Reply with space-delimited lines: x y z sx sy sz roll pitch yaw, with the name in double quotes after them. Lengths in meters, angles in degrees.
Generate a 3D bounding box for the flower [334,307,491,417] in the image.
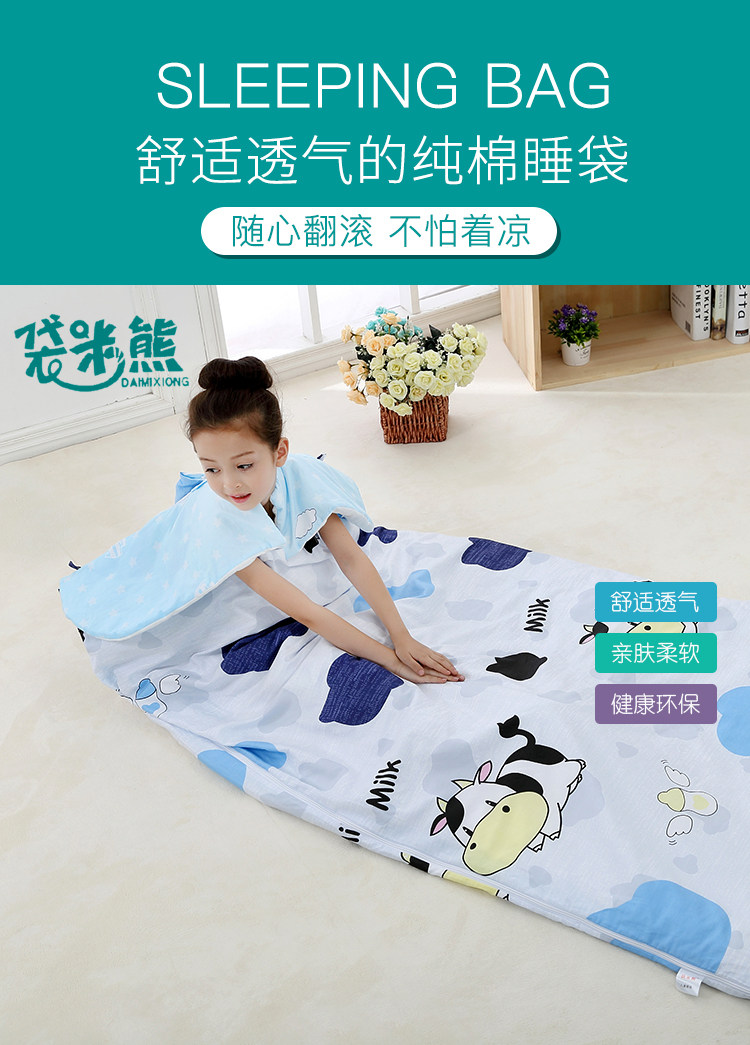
0.090 -0.437 2.281 0.364 0.217 0.321 2 60 10 "flower"

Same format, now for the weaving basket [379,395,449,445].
0.121 -0.285 2.413 0.158 0.111 0.154 -7 21 4 "weaving basket"

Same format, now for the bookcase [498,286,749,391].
0.822 -0.597 2.741 0.398 0.218 0.199 -11 32 -20 "bookcase"

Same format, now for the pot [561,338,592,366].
0.667 -0.557 2.718 0.095 0.068 0.084 -10 18 -24 "pot"

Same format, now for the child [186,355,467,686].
-0.129 0.004 1.304 0.239 0.392 0.667 -26 31 -10 "child"
